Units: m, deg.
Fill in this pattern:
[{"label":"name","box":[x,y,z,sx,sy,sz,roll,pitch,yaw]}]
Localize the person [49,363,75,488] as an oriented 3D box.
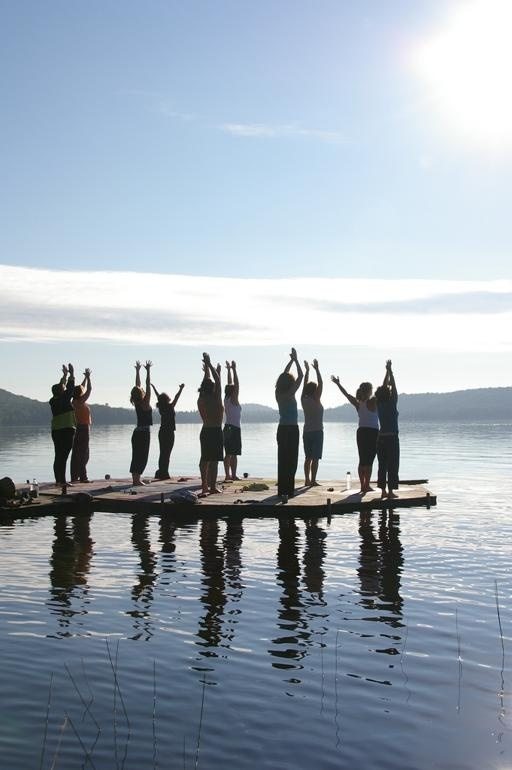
[{"label":"person","box":[-3.444,0.738,15.847,0.420,2.161,0.677,0,0,-13]}]
